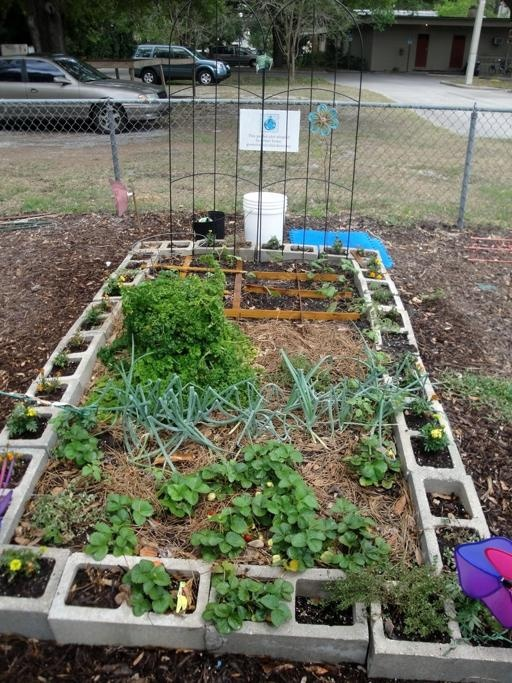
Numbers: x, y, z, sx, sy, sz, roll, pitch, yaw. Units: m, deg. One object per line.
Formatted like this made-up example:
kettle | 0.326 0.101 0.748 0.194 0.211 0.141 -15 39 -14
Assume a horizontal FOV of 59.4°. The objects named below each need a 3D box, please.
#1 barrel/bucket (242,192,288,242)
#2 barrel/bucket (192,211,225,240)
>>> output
barrel/bucket | 0.031 -1.222 4.541 0.575 0.522 0.549 0 21 0
barrel/bucket | -0.481 -1.190 4.545 0.355 0.249 0.347 1 17 0
